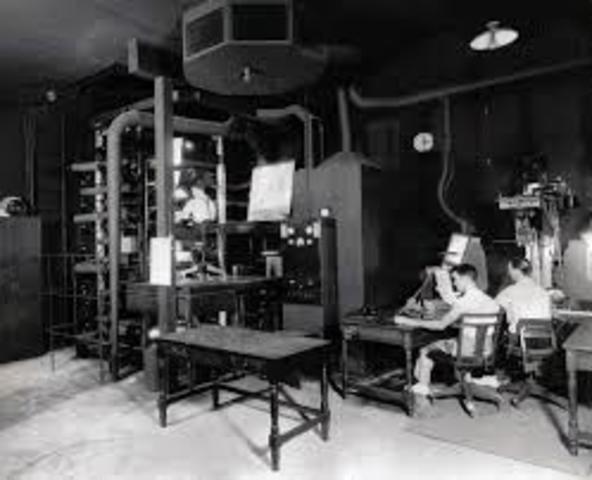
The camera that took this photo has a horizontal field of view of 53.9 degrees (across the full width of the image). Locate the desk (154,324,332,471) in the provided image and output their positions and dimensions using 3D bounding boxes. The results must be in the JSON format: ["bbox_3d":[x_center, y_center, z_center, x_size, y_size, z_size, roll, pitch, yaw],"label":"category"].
[{"bbox_3d":[-0.578,1.961,6.442,2.202,1.312,1.229,-1,-2,42],"label":"desk"}]

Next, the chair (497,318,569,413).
[{"bbox_3d":[2.956,1.448,7.337,1.079,1.246,0.949,-2,-4,39],"label":"chair"}]

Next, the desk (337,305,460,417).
[{"bbox_3d":[1.222,1.432,7.691,1.099,1.111,1.446,-2,-3,33],"label":"desk"}]

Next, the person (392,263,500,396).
[{"bbox_3d":[2.039,1.225,7.452,1.124,1.699,1.177,10,-8,-39],"label":"person"}]

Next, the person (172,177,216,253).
[{"bbox_3d":[-1.580,-0.398,9.332,0.333,0.935,0.660,8,2,33],"label":"person"}]

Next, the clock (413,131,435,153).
[{"bbox_3d":[1.964,-1.481,8.938,0.286,0.289,0.070,10,6,40],"label":"clock"}]

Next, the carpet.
[{"bbox_3d":[2.378,2.137,6.693,1.870,0.089,1.353,6,15,30],"label":"carpet"}]

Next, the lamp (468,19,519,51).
[{"bbox_3d":[2.624,-2.684,7.654,0.565,0.324,0.881,3,14,20],"label":"lamp"}]

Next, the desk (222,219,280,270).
[{"bbox_3d":[-0.771,0.104,10.241,0.970,1.050,1.041,-3,13,-5],"label":"desk"}]
